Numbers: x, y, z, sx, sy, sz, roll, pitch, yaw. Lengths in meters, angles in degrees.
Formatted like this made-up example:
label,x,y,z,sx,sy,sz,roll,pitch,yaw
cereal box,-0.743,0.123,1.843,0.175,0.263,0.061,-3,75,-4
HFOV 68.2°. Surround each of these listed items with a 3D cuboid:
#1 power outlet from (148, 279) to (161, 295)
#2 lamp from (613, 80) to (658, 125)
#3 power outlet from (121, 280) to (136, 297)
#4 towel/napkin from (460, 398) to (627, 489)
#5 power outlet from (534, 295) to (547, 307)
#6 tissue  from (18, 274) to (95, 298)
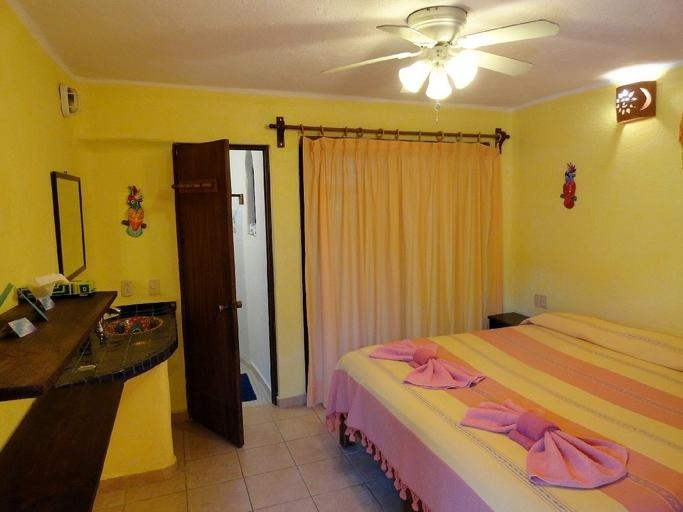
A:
label,x,y,z,sx,sy,sz,roll,pitch,yaw
power outlet,-1.528,0.243,4.117,0.118,0.171,0.020,0,3,-24
lamp,2.302,-1.205,3.942,0.151,0.373,0.385,-2,2,-32
power outlet,-1.713,0.252,4.056,0.126,0.181,0.018,0,3,-28
towel/napkin,1.072,1.004,2.649,0.373,0.091,0.514,-13,14,-19
power outlet,1.913,0.428,4.860,0.015,0.107,0.111,-3,7,-25
tissue ,-1.693,0.182,3.008,0.251,0.102,0.117,-4,9,-31
